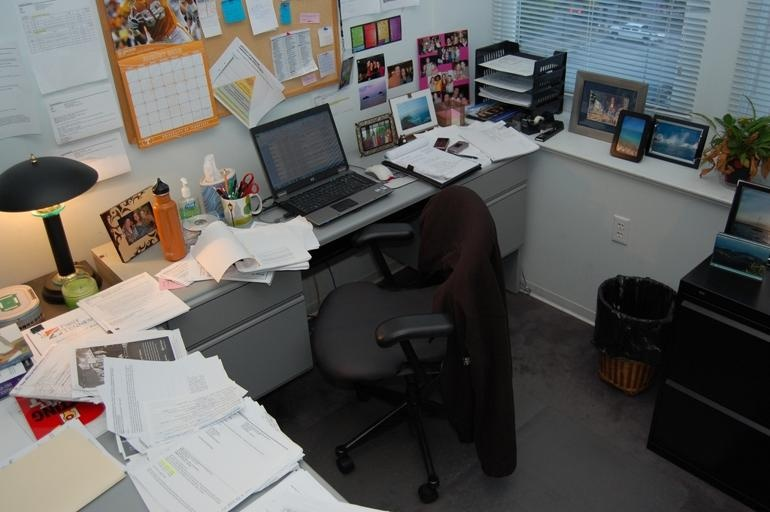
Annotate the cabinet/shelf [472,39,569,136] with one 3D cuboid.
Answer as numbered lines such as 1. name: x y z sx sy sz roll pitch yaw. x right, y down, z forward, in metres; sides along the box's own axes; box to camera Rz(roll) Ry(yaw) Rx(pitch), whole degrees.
1. cabinet/shelf: 0.808 -1.054 3.184 0.394 0.396 0.430 -30 42 -33

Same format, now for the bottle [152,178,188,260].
1. bottle: -0.953 -0.165 2.285 0.116 0.342 0.176 -17 33 -22

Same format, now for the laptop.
1. laptop: -0.472 -0.491 2.791 0.565 0.326 0.573 -29 -3 -13

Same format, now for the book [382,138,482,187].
1. book: 0.237 -0.488 2.774 0.340 0.081 0.339 29 44 32

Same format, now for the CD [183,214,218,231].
1. CD: -0.846 -0.153 2.382 0.100 0.024 0.100 -21 40 -26

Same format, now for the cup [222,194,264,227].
1. cup: -0.667 -0.229 2.486 0.192 0.146 0.126 -2 32 -4

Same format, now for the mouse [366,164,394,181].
1. mouse: -0.024 -0.443 2.738 0.089 0.034 0.110 -26 47 -37

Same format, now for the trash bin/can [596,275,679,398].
1. trash bin/can: 1.275 0.442 2.742 0.362 0.452 0.363 -6 23 -16

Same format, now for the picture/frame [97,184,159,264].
1. picture/frame: -1.099 -0.136 2.312 0.250 0.230 0.015 -21 2 16

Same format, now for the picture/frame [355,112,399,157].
1. picture/frame: -0.052 -0.684 2.948 0.231 0.192 0.019 -24 24 -29

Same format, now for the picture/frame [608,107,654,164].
1. picture/frame: 1.299 -0.630 2.771 0.236 0.343 0.034 19 17 32

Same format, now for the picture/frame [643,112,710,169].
1. picture/frame: 1.501 -0.591 2.700 0.269 0.249 0.020 19 29 35

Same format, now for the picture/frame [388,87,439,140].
1. picture/frame: 0.149 -0.821 3.042 0.278 0.233 0.019 -25 20 -27

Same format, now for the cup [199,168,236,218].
1. cup: -0.746 -0.283 2.498 0.178 0.206 0.165 -4 20 1

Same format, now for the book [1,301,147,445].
1. book: -1.037 0.480 1.807 0.343 0.085 0.362 -26 58 -8

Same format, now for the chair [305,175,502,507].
1. chair: 0.141 0.416 2.446 0.817 1.306 0.978 -15 33 -20

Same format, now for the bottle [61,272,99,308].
1. bottle: -1.257 0.142 2.214 0.134 0.078 0.138 4 40 -3

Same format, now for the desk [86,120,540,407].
1. desk: -0.082 0.076 2.881 1.819 0.930 0.602 -25 36 -14

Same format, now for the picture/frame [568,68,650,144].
1. picture/frame: 1.242 -0.821 2.885 0.376 0.368 0.030 33 42 30
